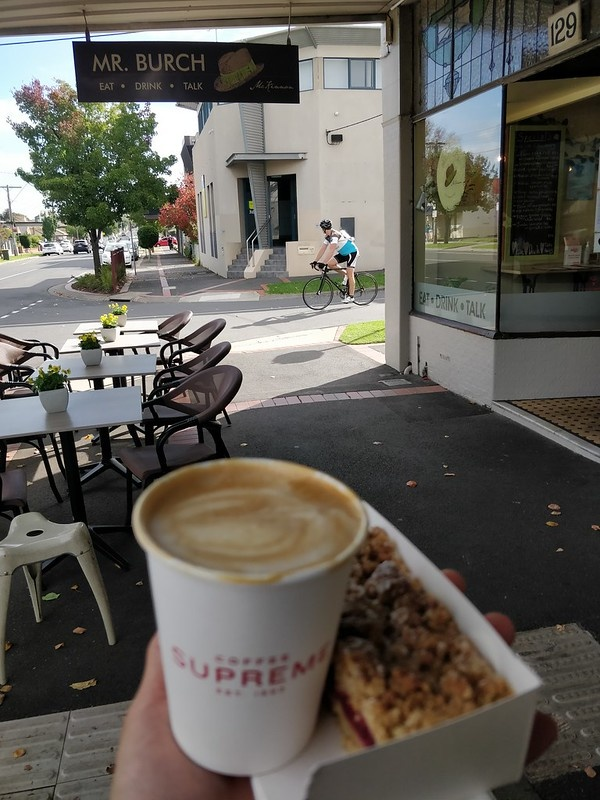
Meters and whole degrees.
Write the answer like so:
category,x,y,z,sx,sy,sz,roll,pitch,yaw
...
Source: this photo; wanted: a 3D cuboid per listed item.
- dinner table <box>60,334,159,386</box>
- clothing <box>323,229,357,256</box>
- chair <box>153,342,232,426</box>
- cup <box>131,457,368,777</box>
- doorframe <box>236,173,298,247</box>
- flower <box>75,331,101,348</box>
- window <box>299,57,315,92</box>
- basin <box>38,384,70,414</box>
category,x,y,z,sx,sy,sz,roll,pitch,yaw
dinner table,-1.788,-0.387,5.206,0.596,0.598,0.613,-1,30,-6
clothing,0.952,-3.719,12.918,0.677,0.606,0.450,5,6,-30
chair,-1.025,-0.262,5.136,0.777,1.029,0.774,0,27,-12
cup,-0.049,0.221,0.534,0.182,0.215,0.190,2,9,0
doorframe,-0.919,-8.423,24.032,1.939,3.100,2.022,-11,19,-19
flower,-1.765,-0.487,4.630,0.169,0.125,0.150,-6,17,-39
window,0.186,-11.575,19.615,0.622,1.193,0.262,13,7,43
basin,-1.522,-0.002,3.400,0.167,0.169,0.100,6,6,-25
